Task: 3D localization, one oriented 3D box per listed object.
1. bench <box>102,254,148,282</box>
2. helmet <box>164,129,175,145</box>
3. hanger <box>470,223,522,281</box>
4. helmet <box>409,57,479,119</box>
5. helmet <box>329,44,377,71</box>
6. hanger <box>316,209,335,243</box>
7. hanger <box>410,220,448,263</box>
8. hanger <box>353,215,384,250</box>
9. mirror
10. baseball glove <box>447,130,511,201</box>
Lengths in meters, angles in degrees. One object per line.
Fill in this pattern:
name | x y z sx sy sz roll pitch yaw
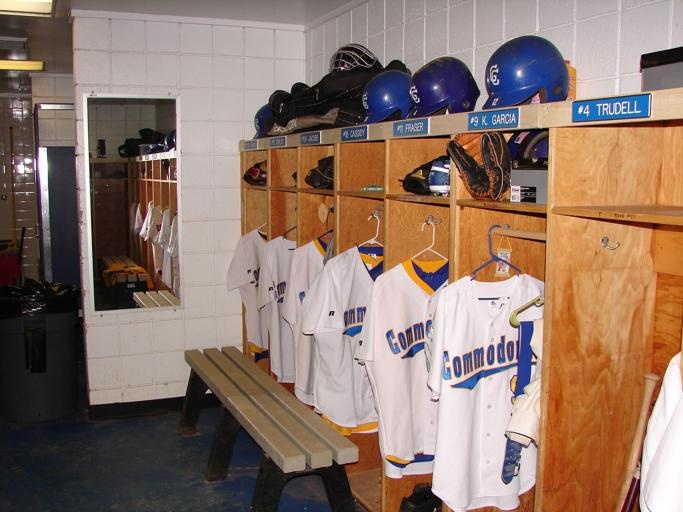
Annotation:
bench | -1.888 0.111 4.897 0.374 0.239 0.036 -4 9 -28
helmet | -1.521 -1.062 4.965 0.090 0.122 0.105 -2 8 -24
hanger | 0.730 -0.021 2.679 0.254 0.249 0.105 -2 5 -19
helmet | 0.511 -0.864 2.919 0.353 0.264 0.253 -35 27 -4
helmet | 0.055 -1.343 3.786 0.378 0.204 0.187 5 9 25
hanger | -0.097 -0.217 3.926 0.056 0.214 0.145 3 0 -40
hanger | 0.486 -0.081 3.077 0.212 0.227 0.024 0 4 -4
hanger | 0.170 -0.152 3.521 0.204 0.150 0.016 -6 12 -43
mirror | -1.819 -0.457 4.924 0.751 1.842 0.194 -3 8 -23
baseball glove | 0.614 -0.439 2.421 0.242 0.347 0.102 -3 13 43
